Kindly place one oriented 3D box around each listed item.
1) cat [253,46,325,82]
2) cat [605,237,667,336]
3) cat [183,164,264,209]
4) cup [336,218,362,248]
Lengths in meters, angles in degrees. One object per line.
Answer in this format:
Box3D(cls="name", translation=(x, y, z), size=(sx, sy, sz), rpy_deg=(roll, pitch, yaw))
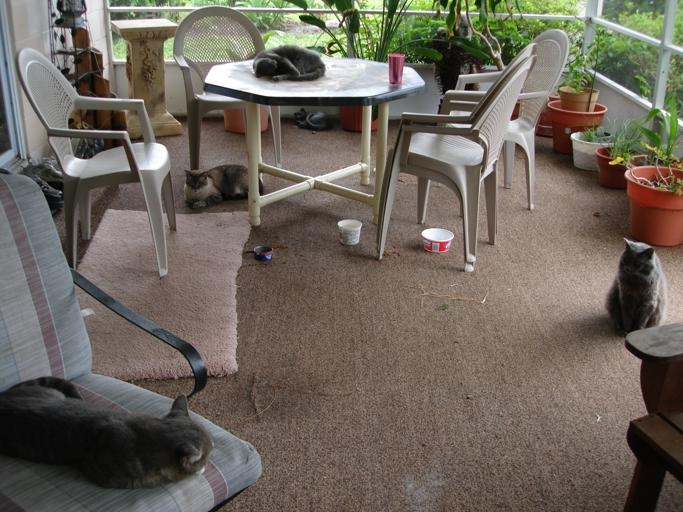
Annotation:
Box3D(cls="cat", translation=(-0.343, -1.258, 3.538), size=(0.358, 0.139, 0.270), rpy_deg=(5, 39, -8))
Box3D(cls="cat", translation=(1.435, 0.151, 2.594), size=(0.261, 0.465, 0.178), rpy_deg=(14, 29, 27))
Box3D(cls="cat", translation=(-0.851, -0.518, 3.880), size=(0.317, 0.219, 0.484), rpy_deg=(23, 38, 32))
Box3D(cls="cup", translation=(0.045, -0.147, 3.414), size=(0.152, 0.119, 0.137), rpy_deg=(25, 39, 33))
